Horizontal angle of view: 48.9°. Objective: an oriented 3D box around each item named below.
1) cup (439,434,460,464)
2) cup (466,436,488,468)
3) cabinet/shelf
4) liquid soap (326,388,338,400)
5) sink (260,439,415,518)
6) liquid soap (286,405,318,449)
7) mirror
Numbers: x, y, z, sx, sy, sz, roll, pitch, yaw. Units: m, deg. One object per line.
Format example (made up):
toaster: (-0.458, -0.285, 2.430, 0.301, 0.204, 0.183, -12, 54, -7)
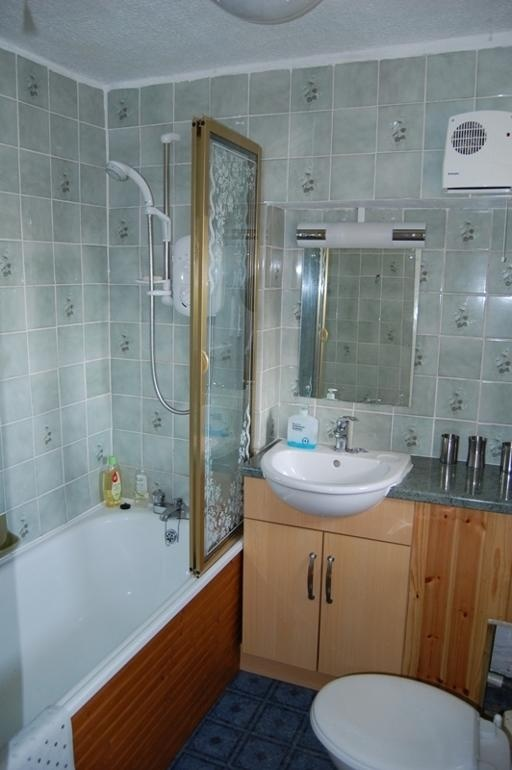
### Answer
cup: (0.716, 0.242, 2.098, 0.060, 0.108, 0.063, 1, 11, 0)
cup: (0.796, 0.248, 2.037, 0.099, 0.136, 0.077, 1, 2, 17)
cabinet/shelf: (0.272, 0.667, 2.134, 0.609, 0.861, 0.434, 6, 17, 14)
liquid soap: (0.306, 0.040, 2.302, 0.040, 0.044, 0.043, 4, -4, -44)
sink: (0.264, 0.324, 1.958, 0.511, 0.149, 0.509, 5, 12, 16)
liquid soap: (0.183, 0.170, 2.216, 0.137, 0.199, 0.064, 3, 8, 25)
mirror: (0.391, -0.265, 2.230, 0.532, 0.746, 0.007, 8, 10, 41)
